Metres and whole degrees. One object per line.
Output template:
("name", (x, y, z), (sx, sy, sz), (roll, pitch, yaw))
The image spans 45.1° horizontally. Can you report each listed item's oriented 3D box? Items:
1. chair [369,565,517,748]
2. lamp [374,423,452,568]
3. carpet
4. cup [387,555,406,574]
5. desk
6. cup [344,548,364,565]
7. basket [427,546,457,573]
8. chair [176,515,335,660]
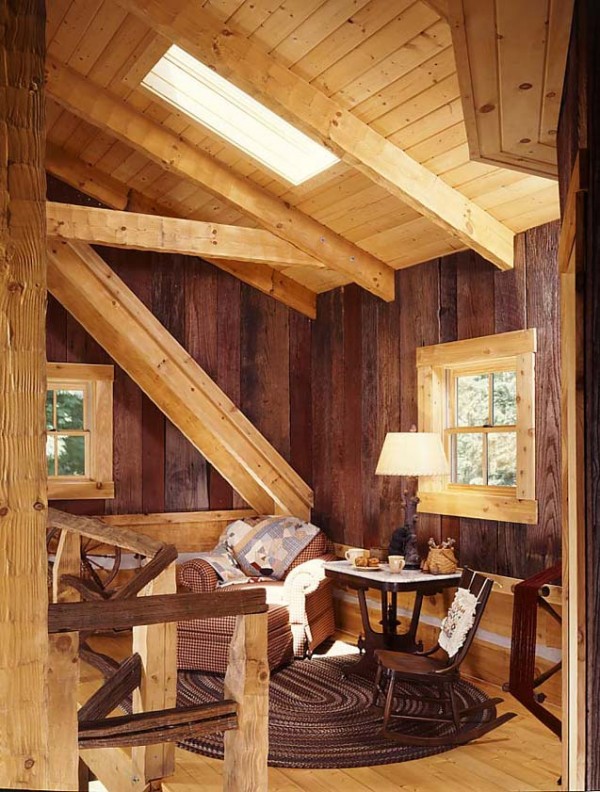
("chair", (0.703, 1.281, 3.574), (0.677, 0.757, 0.469), (5, -9, -8))
("lamp", (0.700, 0.623, 4.433), (0.417, 0.787, 0.707), (-1, 0, 11))
("carpet", (-0.003, 1.613, 3.640), (1.523, 0.019, 1.370), (13, -8, -39))
("cup", (0.576, 1.002, 4.292), (0.075, 0.076, 0.108), (0, 3, -10))
("desk", (0.518, 1.254, 4.268), (0.757, 0.669, 0.671), (10, -18, -30))
("cup", (0.347, 1.016, 4.597), (0.135, 0.099, 0.108), (0, -4, -6))
("basket", (0.819, 0.961, 4.236), (0.156, 0.124, 0.149), (-6, -7, 35))
("chair", (-0.254, 1.329, 5.092), (0.953, 0.846, 0.735), (-2, -6, 17))
